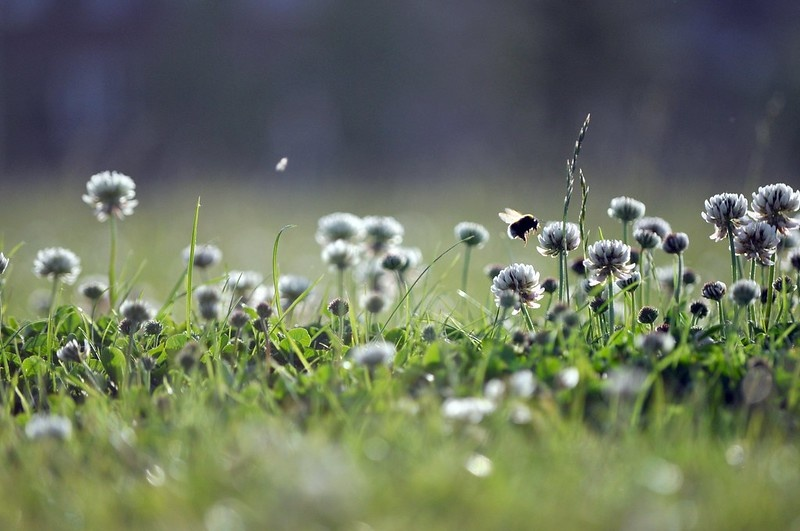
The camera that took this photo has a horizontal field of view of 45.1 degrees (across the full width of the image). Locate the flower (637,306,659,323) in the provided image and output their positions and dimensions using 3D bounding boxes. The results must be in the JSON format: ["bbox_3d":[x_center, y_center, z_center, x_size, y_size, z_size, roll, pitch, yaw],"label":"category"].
[{"bbox_3d":[1.238,0.247,4.801,0.075,0.089,0.082,-6,17,-9],"label":"flower"}]

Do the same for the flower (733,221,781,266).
[{"bbox_3d":[1.755,-0.108,4.739,0.169,0.207,0.171,14,15,24],"label":"flower"}]

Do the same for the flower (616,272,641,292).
[{"bbox_3d":[1.165,0.084,4.891,0.110,0.071,0.116,-10,-3,5],"label":"flower"}]

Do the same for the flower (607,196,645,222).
[{"bbox_3d":[1.235,-0.303,5.230,0.172,0.194,0.269,-5,-10,17],"label":"flower"}]

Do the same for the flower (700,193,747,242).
[{"bbox_3d":[1.642,-0.236,4.870,0.215,0.258,0.231,-2,3,21],"label":"flower"}]

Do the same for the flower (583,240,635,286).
[{"bbox_3d":[1.027,-0.042,4.668,0.200,0.223,0.209,3,29,12],"label":"flower"}]

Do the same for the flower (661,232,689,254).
[{"bbox_3d":[1.444,-0.113,5.047,0.107,0.123,0.114,-8,2,-10],"label":"flower"}]

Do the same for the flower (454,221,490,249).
[{"bbox_3d":[0.413,-0.167,5.588,0.162,0.106,0.160,29,-28,-34],"label":"flower"}]

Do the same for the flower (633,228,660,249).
[{"bbox_3d":[1.311,-0.141,5.077,0.143,0.142,0.224,-4,-10,14],"label":"flower"}]

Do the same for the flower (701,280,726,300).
[{"bbox_3d":[1.595,0.134,4.888,0.105,0.112,0.158,-4,-10,16],"label":"flower"}]

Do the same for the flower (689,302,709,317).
[{"bbox_3d":[1.517,0.224,4.873,0.076,0.075,0.049,-10,23,34],"label":"flower"}]

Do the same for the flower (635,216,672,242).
[{"bbox_3d":[1.397,-0.219,5.300,0.156,0.127,0.165,5,8,1],"label":"flower"}]

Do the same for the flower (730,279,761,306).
[{"bbox_3d":[1.666,0.120,4.603,0.117,0.135,0.125,-1,5,-13],"label":"flower"}]

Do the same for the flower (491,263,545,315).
[{"bbox_3d":[0.614,0.052,4.736,0.196,0.193,0.194,-30,15,-15],"label":"flower"}]

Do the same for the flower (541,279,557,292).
[{"bbox_3d":[0.783,0.105,5.032,0.064,0.074,0.069,-4,1,-3],"label":"flower"}]

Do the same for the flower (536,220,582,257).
[{"bbox_3d":[0.810,-0.138,4.835,0.169,0.193,0.174,-6,5,-44],"label":"flower"}]

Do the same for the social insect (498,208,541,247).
[{"bbox_3d":[0.622,-0.209,4.957,0.167,0.128,0.234,-1,5,-28],"label":"social insect"}]
